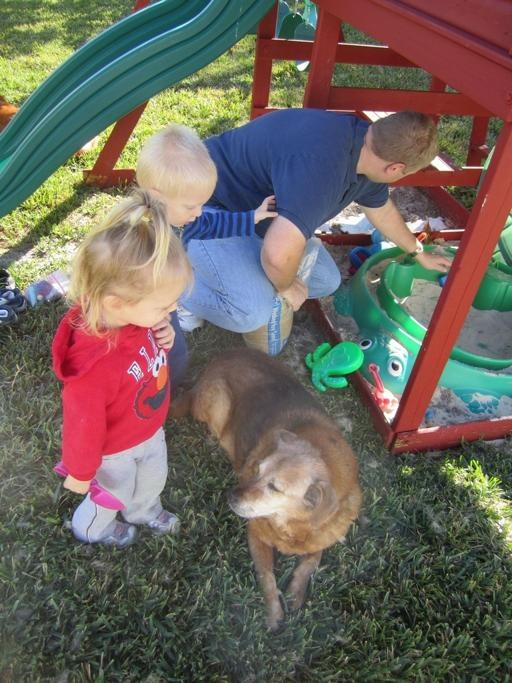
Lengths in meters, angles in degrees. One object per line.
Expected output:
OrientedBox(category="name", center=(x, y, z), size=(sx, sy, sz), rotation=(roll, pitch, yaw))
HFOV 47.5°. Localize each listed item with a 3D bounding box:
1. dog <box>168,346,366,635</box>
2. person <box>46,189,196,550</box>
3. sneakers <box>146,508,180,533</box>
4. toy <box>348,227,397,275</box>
OrientedBox(category="dog", center=(0.000, 0.449, 2.323), size=(0.693, 0.519, 1.177), rotation=(-5, 41, -19))
OrientedBox(category="person", center=(-0.395, 0.184, 1.729), size=(0.364, 1.216, 0.453), rotation=(2, 44, -8))
OrientedBox(category="sneakers", center=(-0.338, 0.636, 2.095), size=(0.121, 0.048, 0.066), rotation=(12, 29, 9))
OrientedBox(category="toy", center=(0.680, -0.548, 3.558), size=(0.288, 0.102, 0.282), rotation=(-31, 26, 10))
